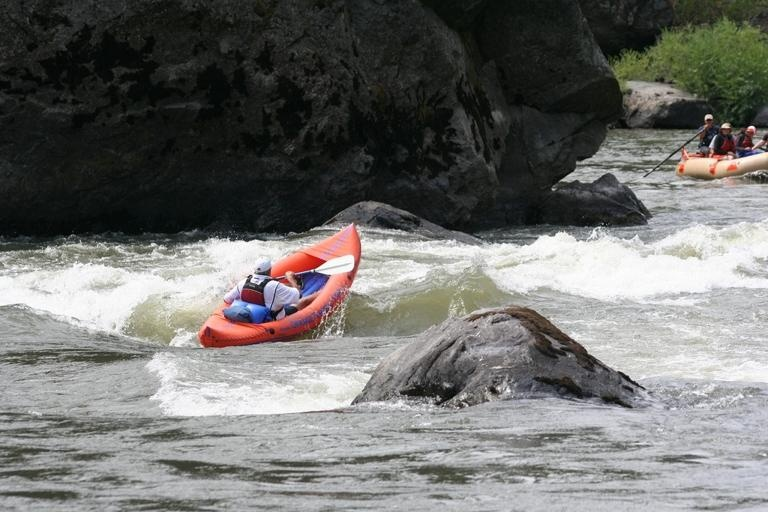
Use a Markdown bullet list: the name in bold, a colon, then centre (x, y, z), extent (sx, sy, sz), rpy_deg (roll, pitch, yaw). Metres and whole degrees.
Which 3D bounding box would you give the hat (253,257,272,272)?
- **hat**: centre (-2.159, 0.188, 23.847), extent (0.282, 0.300, 0.291), rpy_deg (1, 4, -7)

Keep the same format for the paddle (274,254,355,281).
- **paddle**: centre (-1.152, 0.187, 25.047), extent (1.907, 0.429, 0.075), rpy_deg (-11, -44, 19)

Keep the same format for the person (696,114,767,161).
- **person**: centre (9.371, -3.231, 37.133), extent (1.929, 0.708, 1.146), rpy_deg (7, 13, 43)

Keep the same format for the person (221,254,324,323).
- **person**: centre (-2.063, 0.576, 24.043), extent (1.691, 1.088, 0.961), rpy_deg (-2, 5, -40)
